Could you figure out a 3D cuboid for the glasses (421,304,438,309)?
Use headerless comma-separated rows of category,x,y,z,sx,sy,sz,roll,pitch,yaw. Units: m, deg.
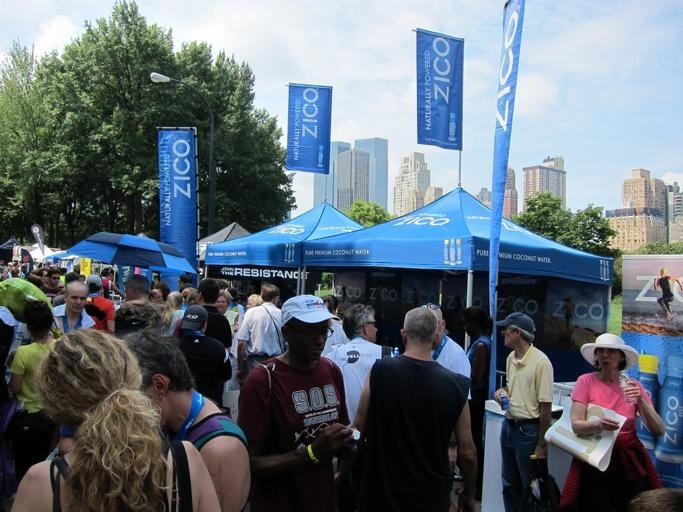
glasses,0.942,0.527,7.901,0.175,0.058,0.182,0,-1,30

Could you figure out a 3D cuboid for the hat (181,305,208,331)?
hat,-1.527,0.651,7.899,0.198,0.179,0.300,7,14,5

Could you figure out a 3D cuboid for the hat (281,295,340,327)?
hat,-0.303,0.464,6.114,0.248,0.173,0.325,5,-12,-33

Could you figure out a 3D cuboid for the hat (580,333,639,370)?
hat,2.667,0.941,7.353,0.381,0.155,0.448,-6,-32,31

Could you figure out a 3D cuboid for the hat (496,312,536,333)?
hat,1.848,0.709,7.970,0.359,0.205,0.266,7,-9,19

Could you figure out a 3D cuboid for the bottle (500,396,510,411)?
bottle,1.732,1.554,7.934,0.115,0.142,0.121,-7,-18,24

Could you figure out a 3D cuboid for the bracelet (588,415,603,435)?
bracelet,2.369,1.565,6.992,0.040,0.142,0.139,4,-32,-7

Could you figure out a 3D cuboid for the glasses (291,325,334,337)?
glasses,-0.265,0.591,6.071,0.333,0.112,0.123,1,-2,-10

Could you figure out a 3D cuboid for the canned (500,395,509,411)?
canned,1.732,1.551,7.934,0.119,0.147,0.126,1,-7,-4
